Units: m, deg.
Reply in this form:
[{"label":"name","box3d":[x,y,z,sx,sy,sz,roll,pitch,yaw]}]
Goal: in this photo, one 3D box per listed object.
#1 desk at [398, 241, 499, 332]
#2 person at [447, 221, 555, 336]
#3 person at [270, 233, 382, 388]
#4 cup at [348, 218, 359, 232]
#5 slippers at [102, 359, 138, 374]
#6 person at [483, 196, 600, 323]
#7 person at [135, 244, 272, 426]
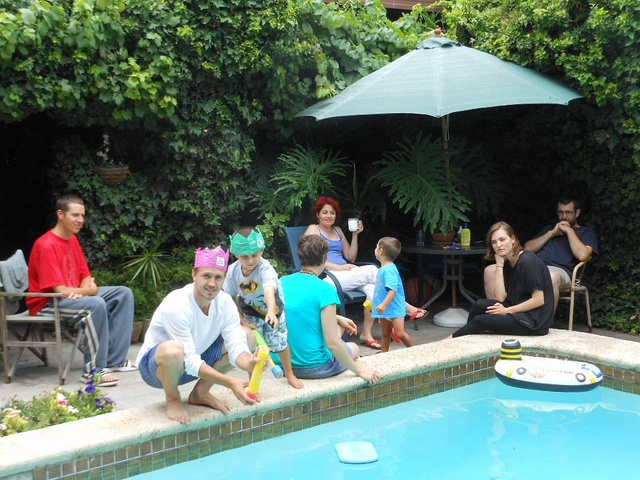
[{"label":"desk","box3d":[1.691,0.503,7.326,1.012,0.904,0.995,-6,11,-27]},{"label":"person","box3d":[1.816,0.378,5.612,0.807,1.066,0.495,-1,9,21]},{"label":"person","box3d":[0.046,0.559,4.545,0.639,1.182,0.599,-6,9,-12]},{"label":"cup","box3d":[0.396,-0.182,6.860,0.096,0.139,0.159,-1,-4,16]},{"label":"slippers","box3d":[-1.885,1.201,5.543,0.263,0.109,0.093,-1,5,-21]},{"label":"person","box3d":[2.619,0.244,6.727,1.035,1.535,0.972,10,-2,-1]},{"label":"person","box3d":[-0.763,0.594,4.419,1.156,1.242,0.849,13,16,40]}]
